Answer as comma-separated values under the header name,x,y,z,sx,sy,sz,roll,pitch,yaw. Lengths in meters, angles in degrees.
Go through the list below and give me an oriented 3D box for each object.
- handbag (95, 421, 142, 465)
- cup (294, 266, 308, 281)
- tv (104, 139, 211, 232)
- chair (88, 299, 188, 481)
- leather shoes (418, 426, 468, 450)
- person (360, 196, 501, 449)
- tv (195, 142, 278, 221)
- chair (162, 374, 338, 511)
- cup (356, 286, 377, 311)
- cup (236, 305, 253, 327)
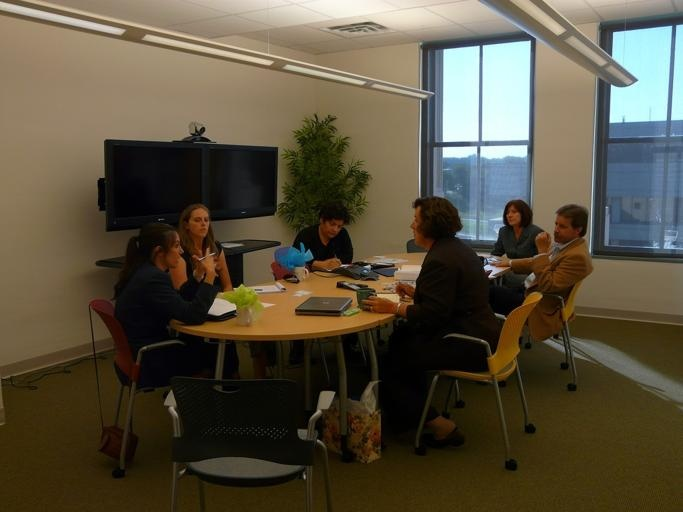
name,x,y,z,sx,sy,sz,roll,pitch,yaw
handbag,-1.417,1.172,3.392,0.280,0.219,0.201,16,-2,33
cup,-0.321,0.145,4.254,0.105,0.110,0.082,2,8,-3
tv,-1.771,-0.655,4.964,0.096,0.704,0.952,5,7,33
chair,-1.305,0.872,3.552,0.538,0.963,0.550,4,5,42
leather shoes,0.680,1.241,3.613,0.262,0.120,0.141,3,2,21
person,0.653,0.485,3.675,0.877,1.724,0.841,1,4,23
tv,-1.188,-0.835,5.874,0.069,0.699,0.993,5,8,30
chair,-0.434,0.782,2.715,0.745,1.018,0.673,1,9,2
cup,0.172,0.290,3.539,0.104,0.115,0.132,0,-3,-2
cup,-0.574,0.368,3.224,0.095,0.116,0.098,0,3,0
